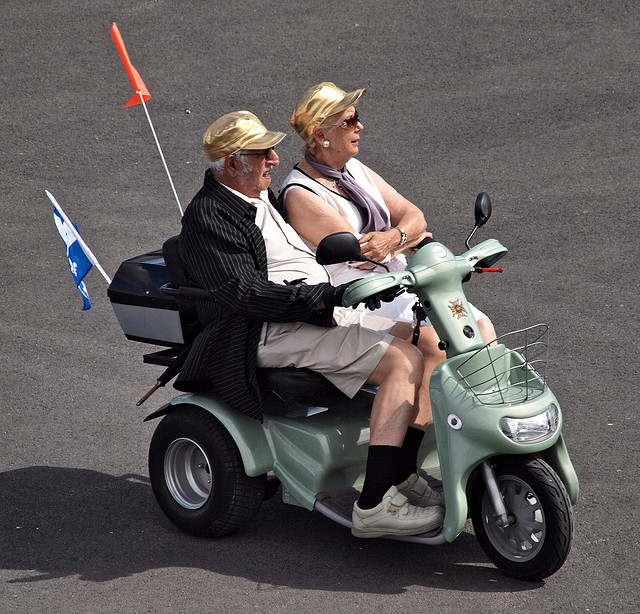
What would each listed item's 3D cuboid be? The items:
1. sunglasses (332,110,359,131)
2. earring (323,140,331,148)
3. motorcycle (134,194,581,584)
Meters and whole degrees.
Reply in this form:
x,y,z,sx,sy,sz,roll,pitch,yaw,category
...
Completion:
x,y,z,sx,sy,sz,roll,pitch,yaw,category
0.145,-1.031,5.952,0.129,0.035,0.097,2,22,29,sunglasses
0.042,-0.902,5.987,0.037,0.024,0.037,-3,7,-39,earring
0.287,0.427,5.756,2.472,1.507,1.367,6,14,42,motorcycle
